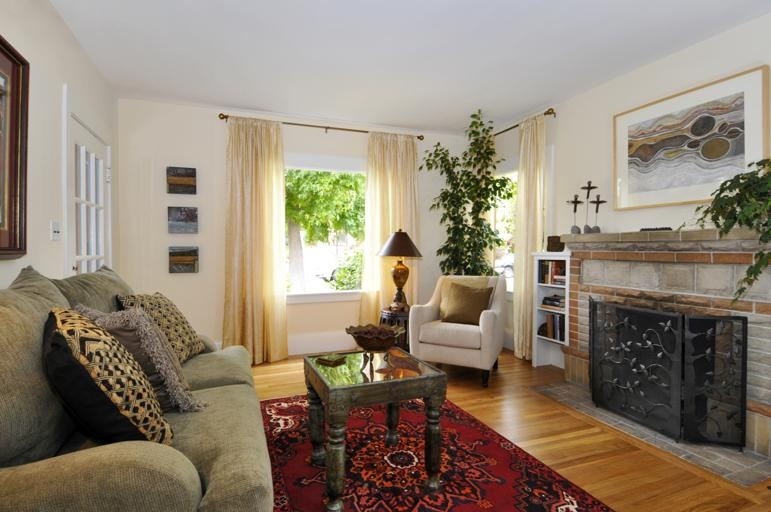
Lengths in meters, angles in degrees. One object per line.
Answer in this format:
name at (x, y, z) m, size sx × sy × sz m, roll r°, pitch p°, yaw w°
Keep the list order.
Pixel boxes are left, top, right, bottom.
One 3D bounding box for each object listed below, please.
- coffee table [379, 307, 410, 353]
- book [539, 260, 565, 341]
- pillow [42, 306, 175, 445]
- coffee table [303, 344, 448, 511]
coffee table at (0.155, 0.861, 5.784) m, size 0.466 × 0.504 × 0.458 m, roll 0°, pitch -2°, yaw 6°
book at (1.857, 0.486, 5.554) m, size 0.320 × 0.920 × 0.391 m, roll 3°, pitch 13°, yaw 17°
pillow at (-1.570, 0.707, 2.734) m, size 0.227 × 0.753 × 0.732 m, roll -32°, pitch 37°, yaw -6°
coffee table at (-0.106, 1.099, 3.622) m, size 0.983 × 0.842 × 0.971 m, roll 1°, pitch -4°, yaw -23°
